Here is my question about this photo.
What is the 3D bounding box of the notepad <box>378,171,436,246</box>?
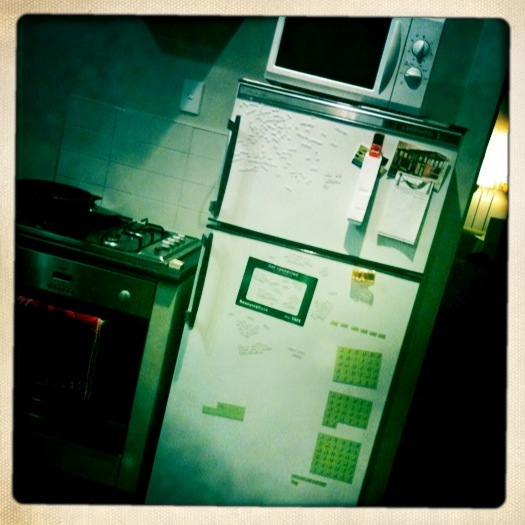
[{"bbox_3d":[0.496,-0.195,1.771,0.191,0.229,0.044,13,9,-4],"label":"notepad"}]

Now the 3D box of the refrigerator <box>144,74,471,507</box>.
[{"bbox_3d":[0.107,0.219,2.130,0.697,1.760,0.612,11,13,0],"label":"refrigerator"}]

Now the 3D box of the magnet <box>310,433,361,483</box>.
[{"bbox_3d":[0.270,0.721,1.913,0.159,0.184,0.049,10,9,-3],"label":"magnet"}]

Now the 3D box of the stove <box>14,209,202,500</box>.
[{"bbox_3d":[-0.626,0.298,2.101,0.588,1.089,0.684,14,15,4],"label":"stove"}]

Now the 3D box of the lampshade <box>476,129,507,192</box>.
[{"bbox_3d":[0.805,-0.349,1.754,0.098,0.224,0.062,15,2,20],"label":"lampshade"}]
